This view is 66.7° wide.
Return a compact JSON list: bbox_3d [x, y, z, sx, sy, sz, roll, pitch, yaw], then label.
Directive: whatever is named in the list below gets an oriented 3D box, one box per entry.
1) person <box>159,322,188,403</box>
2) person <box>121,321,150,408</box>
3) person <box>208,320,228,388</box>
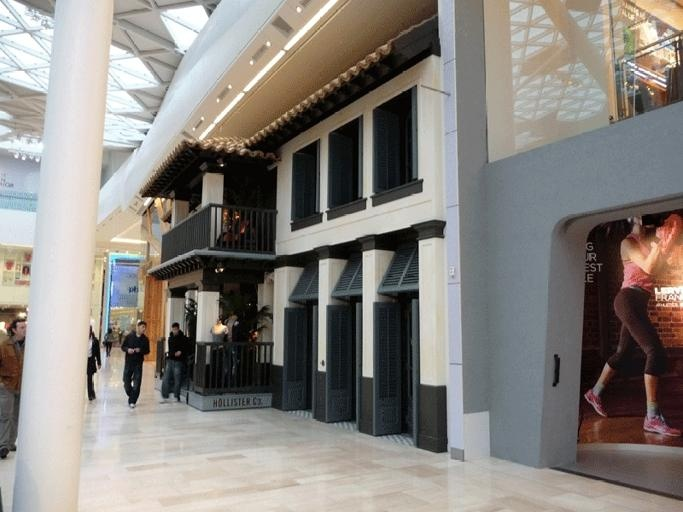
[{"bbox_3d":[-4.685,2.982,14.563,0.628,2.150,0.773,4,-10,-19],"label":"person"},{"bbox_3d":[-5.402,2.775,13.443,0.612,2.196,1.456,5,-11,-23],"label":"person"},{"bbox_3d":[-3.347,2.594,14.039,0.416,1.839,0.708,3,-10,-14],"label":"person"}]
